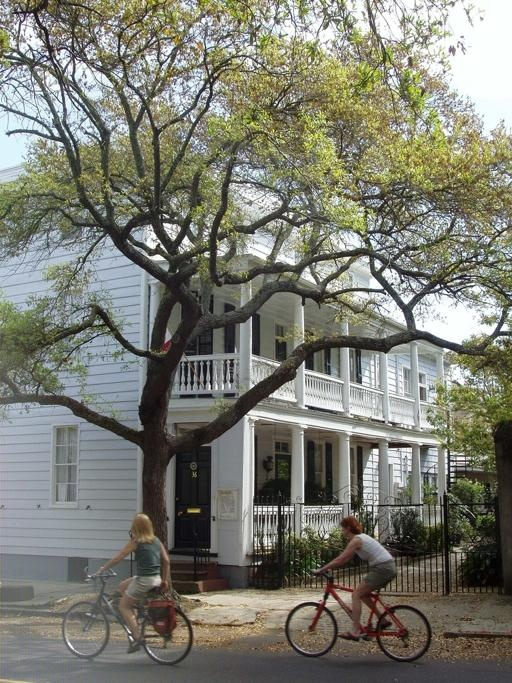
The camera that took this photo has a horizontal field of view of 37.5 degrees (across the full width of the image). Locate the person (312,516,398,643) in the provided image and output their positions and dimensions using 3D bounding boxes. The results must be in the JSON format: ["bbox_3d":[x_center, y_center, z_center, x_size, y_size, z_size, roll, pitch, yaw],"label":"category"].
[{"bbox_3d":[1.150,2.581,8.141,0.671,1.290,0.868,-1,-11,9],"label":"person"}]

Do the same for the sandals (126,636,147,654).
[{"bbox_3d":[-1.238,3.174,7.860,0.175,0.173,0.214,2,-11,-10],"label":"sandals"}]

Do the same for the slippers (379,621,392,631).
[{"bbox_3d":[1.363,3.001,7.946,0.081,0.088,0.135,2,-14,-7],"label":"slippers"}]

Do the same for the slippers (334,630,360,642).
[{"bbox_3d":[0.957,3.079,7.898,0.259,0.094,0.116,-1,-22,35],"label":"slippers"}]

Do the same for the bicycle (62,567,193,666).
[{"bbox_3d":[-1.450,3.024,8.232,1.060,1.003,1.751,7,-12,-32],"label":"bicycle"}]

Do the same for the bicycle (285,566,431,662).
[{"bbox_3d":[1.166,3.072,8.380,1.813,0.972,0.792,0,-14,11],"label":"bicycle"}]
